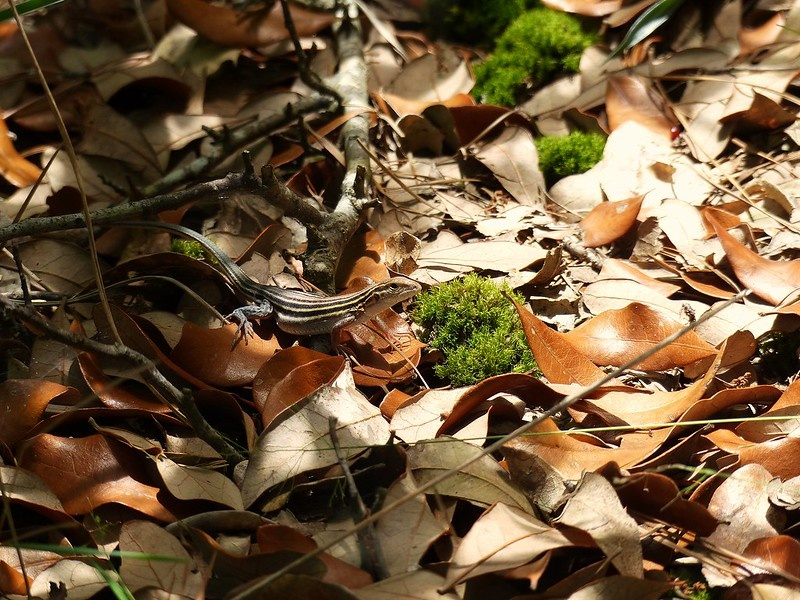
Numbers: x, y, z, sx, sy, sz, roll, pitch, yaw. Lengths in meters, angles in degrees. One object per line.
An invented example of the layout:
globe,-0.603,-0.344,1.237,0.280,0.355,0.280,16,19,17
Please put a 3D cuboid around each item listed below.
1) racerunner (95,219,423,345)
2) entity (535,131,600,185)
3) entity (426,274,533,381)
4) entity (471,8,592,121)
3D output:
racerunner,-0.550,-0.022,2.860,0.987,0.387,0.489,24,39,6
entity,0.735,-0.722,3.502,0.456,0.155,0.379,-4,20,3
entity,0.265,0.025,2.969,0.551,0.209,0.444,4,12,10
entity,0.680,-1.263,3.761,0.472,0.472,0.545,22,39,-4
